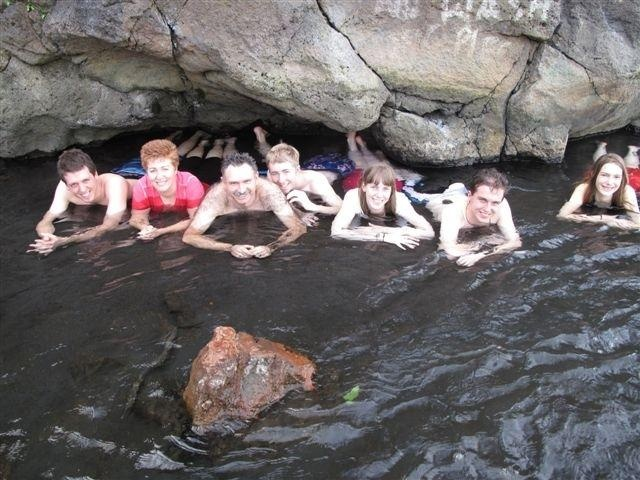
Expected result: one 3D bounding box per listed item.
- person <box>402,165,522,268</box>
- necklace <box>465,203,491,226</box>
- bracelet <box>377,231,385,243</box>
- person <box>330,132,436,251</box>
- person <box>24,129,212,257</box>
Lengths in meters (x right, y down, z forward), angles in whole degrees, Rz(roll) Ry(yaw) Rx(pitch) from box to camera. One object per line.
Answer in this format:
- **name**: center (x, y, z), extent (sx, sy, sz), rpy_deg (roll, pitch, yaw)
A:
- **person**: center (1.756, -0.439, 6.090), extent (0.979, 0.641, 1.471), rpy_deg (-11, 31, -3)
- **necklace**: center (1.902, -0.281, 6.012), extent (0.263, 0.265, 0.275), rpy_deg (-1, 32, 7)
- **bracelet**: center (0.757, -0.036, 6.174), extent (0.127, 0.094, 0.103), rpy_deg (1, 19, 3)
- **person**: center (0.748, -0.303, 6.046), extent (0.873, 0.580, 1.511), rpy_deg (-2, 41, -1)
- **person**: center (-2.488, -0.592, 6.568), extent (1.727, 0.726, 1.959), rpy_deg (7, 27, 11)
